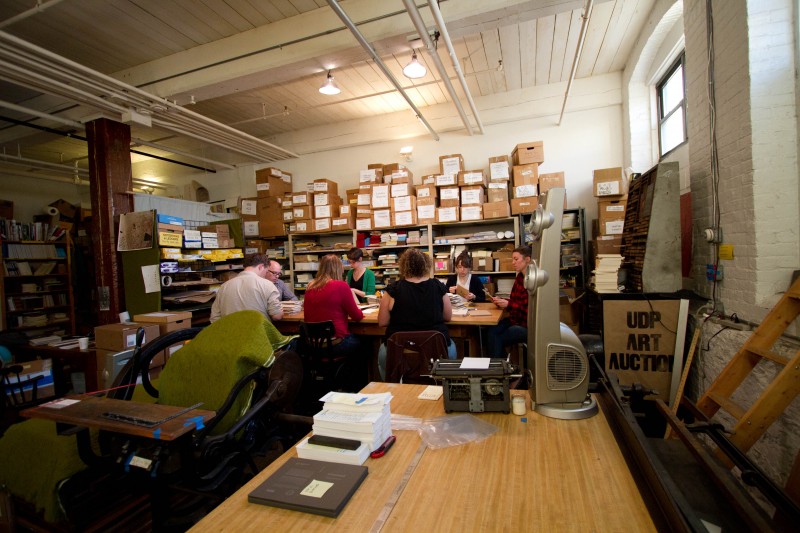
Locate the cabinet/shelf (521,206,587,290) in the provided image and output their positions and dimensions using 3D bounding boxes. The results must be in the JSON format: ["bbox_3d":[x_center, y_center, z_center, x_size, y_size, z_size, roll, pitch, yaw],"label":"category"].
[{"bbox_3d":[1.959,-0.171,6.602,0.713,1.092,1.609,-3,4,19],"label":"cabinet/shelf"}]

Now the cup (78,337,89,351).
[{"bbox_3d":[-3.366,0.813,5.650,0.130,0.135,0.124,0,1,0],"label":"cup"}]

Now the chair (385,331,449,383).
[{"bbox_3d":[0.130,0.893,4.908,0.224,0.455,0.597,2,2,-34],"label":"chair"}]

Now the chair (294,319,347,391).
[{"bbox_3d":[-0.795,0.933,5.495,0.448,0.788,0.360,-5,4,-10],"label":"chair"}]

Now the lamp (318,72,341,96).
[{"bbox_3d":[-0.845,-2.219,6.372,0.192,0.290,0.318,-5,4,-3],"label":"lamp"}]

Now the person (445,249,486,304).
[{"bbox_3d":[0.811,0.244,6.735,0.583,0.850,0.486,0,4,20],"label":"person"}]

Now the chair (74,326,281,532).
[{"bbox_3d":[-1.539,1.134,4.515,1.407,1.088,1.730,-3,2,18],"label":"chair"}]

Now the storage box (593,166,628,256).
[{"bbox_3d":[2.703,-0.731,6.835,0.420,1.073,0.581,-3,4,22],"label":"storage box"}]

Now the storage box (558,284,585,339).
[{"bbox_3d":[2.154,0.542,6.746,0.306,0.547,0.287,-1,5,40],"label":"storage box"}]

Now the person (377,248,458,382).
[{"bbox_3d":[0.172,0.437,5.340,0.807,1.156,0.624,-3,2,-9],"label":"person"}]

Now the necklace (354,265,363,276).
[{"bbox_3d":[-0.544,0.045,7.120,0.143,0.162,0.099,0,-12,6],"label":"necklace"}]
